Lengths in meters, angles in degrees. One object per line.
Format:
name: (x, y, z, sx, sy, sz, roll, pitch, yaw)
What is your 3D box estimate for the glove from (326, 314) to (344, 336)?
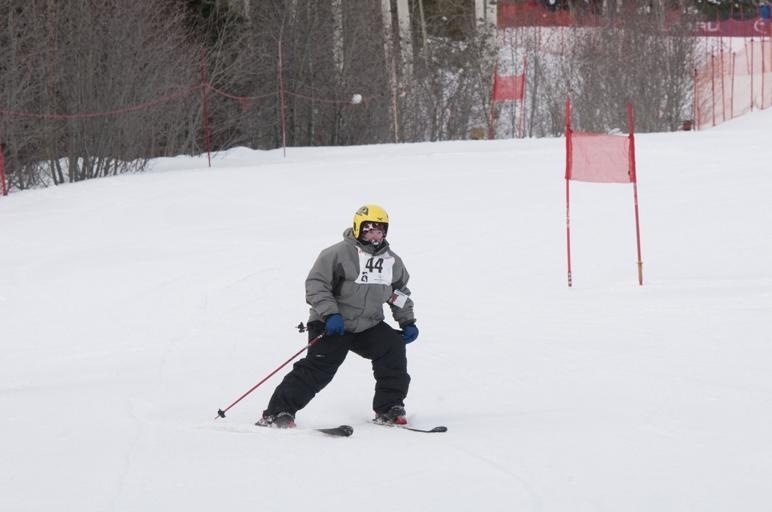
glove: (-0.544, 0.733, 9.744, 0.198, 0.262, 0.182, -2, 12, -4)

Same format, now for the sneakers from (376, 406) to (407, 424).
sneakers: (0.084, 1.719, 9.939, 0.346, 0.185, 0.148, 5, -4, 24)

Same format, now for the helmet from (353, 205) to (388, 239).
helmet: (-0.186, -0.415, 9.982, 0.280, 0.342, 0.383, 2, 17, -15)

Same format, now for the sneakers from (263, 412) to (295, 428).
sneakers: (-1.123, 1.725, 9.585, 0.255, 0.131, 0.155, 6, -7, -6)
